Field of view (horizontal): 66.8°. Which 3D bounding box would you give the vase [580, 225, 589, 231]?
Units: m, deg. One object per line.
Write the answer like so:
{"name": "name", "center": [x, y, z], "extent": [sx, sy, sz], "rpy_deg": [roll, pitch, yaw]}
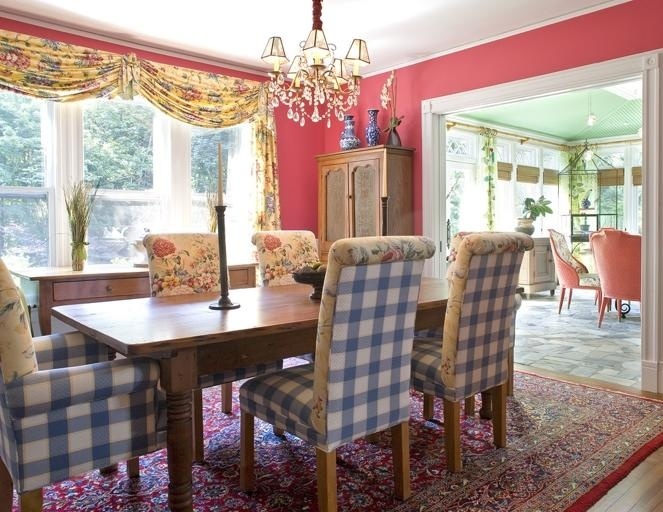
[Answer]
{"name": "vase", "center": [4.666, -0.515, 9.279], "extent": [0.115, 0.070, 0.116], "rpy_deg": [3, 4, 40]}

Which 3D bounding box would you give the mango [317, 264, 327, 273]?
{"name": "mango", "center": [-0.054, 0.071, 2.839], "extent": [0.045, 0.030, 0.058], "rpy_deg": [-2, 8, 26]}

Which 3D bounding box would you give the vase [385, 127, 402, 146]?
{"name": "vase", "center": [0.618, -1.179, 4.991], "extent": [0.148, 0.226, 0.358], "rpy_deg": [0, 5, 7]}

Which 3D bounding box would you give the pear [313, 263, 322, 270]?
{"name": "pear", "center": [-0.083, 0.059, 2.869], "extent": [0.044, 0.024, 0.032], "rpy_deg": [-11, -9, 5]}

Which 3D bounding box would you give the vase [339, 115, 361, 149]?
{"name": "vase", "center": [0.202, -1.304, 5.329], "extent": [0.260, 0.344, 0.235], "rpy_deg": [-7, 22, 0]}

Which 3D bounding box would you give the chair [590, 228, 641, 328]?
{"name": "chair", "center": [2.961, 0.271, 5.263], "extent": [0.298, 1.105, 0.579], "rpy_deg": [-3, 6, -16]}

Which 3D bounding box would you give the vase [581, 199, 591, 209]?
{"name": "vase", "center": [4.697, -0.969, 9.266], "extent": [0.141, 0.192, 0.210], "rpy_deg": [2, 6, 24]}

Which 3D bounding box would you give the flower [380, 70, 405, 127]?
{"name": "flower", "center": [0.605, -1.581, 5.126], "extent": [0.204, 0.624, 0.444], "rpy_deg": [-3, 6, -15]}
